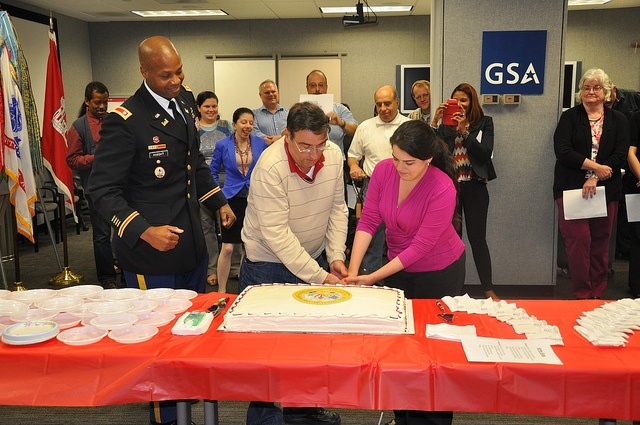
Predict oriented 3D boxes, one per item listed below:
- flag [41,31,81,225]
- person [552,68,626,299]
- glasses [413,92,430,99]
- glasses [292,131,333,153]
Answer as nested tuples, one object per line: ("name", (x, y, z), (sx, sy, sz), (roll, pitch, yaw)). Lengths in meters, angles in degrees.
("flag", (-2.953, -0.901, 4.977), (0.273, 2.140, 0.551), (-7, 15, -29))
("person", (2.505, -0.244, 4.245), (0.628, 2.152, 0.473), (6, 15, 25))
("glasses", (1.155, -1.325, 5.085), (0.090, 0.032, 0.116), (-1, -3, 5))
("glasses", (-0.076, -0.378, 2.415), (0.227, 0.130, 0.133), (1, 13, 2))
